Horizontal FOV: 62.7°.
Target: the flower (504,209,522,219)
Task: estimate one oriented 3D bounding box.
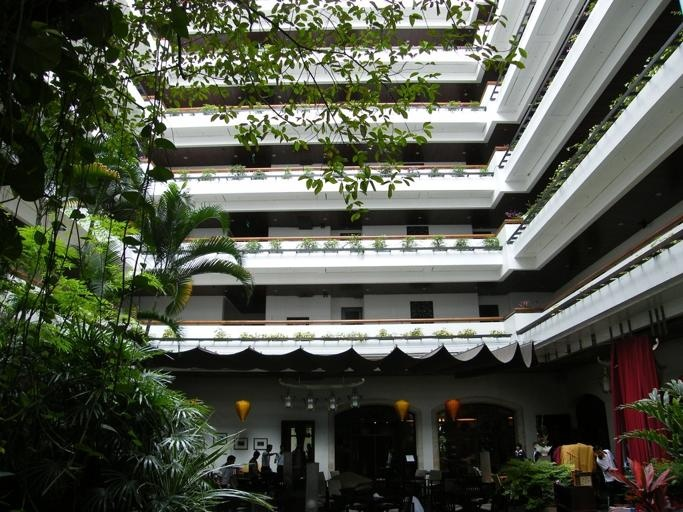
[{"bbox_3d":[5.134,-1.177,16.793,0.418,0.246,0.436,10,-11,-40],"label":"flower"}]
